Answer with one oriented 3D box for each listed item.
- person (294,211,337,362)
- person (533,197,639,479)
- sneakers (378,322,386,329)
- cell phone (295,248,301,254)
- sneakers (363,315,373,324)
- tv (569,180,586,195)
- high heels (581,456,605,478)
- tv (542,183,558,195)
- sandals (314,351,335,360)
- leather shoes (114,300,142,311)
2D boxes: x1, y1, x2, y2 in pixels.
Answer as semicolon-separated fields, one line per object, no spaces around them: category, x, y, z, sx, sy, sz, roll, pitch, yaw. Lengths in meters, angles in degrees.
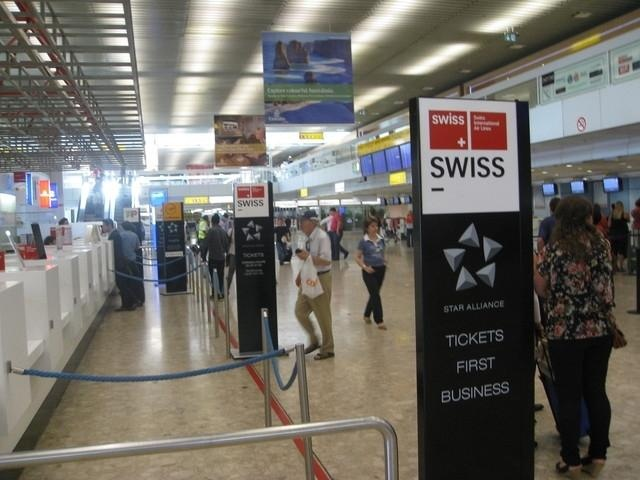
person;-0.071;0.633;6.814;0.561;2.067;0.725;0;3;0
person;1.878;0.723;3.551;0.555;2.073;0.278;-1;3;-16
sneakers;1.060;1.446;8.139;0.159;0.106;0.242;0;3;7
cell phone;-0.310;0.161;6.607;0.092;0.054;0.091;-12;5;16
sneakers;0.854;1.427;8.593;0.127;0.144;0.346;0;-7;-3
tv;12.453;-2.540;23.209;0.510;0.659;1.083;-1;3;-9
high heels;2.035;1.685;3.585;0.108;0.084;0.211;-5;4;11
tv;12.163;-2.659;25.549;0.475;0.667;1.163;0;3;0
sandals;0.055;1.601;6.663;0.230;0.061;0.104;5;-7;-25
leather shoes;-4.438;1.536;11.108;0.504;0.208;0.181;2;-1;-14
